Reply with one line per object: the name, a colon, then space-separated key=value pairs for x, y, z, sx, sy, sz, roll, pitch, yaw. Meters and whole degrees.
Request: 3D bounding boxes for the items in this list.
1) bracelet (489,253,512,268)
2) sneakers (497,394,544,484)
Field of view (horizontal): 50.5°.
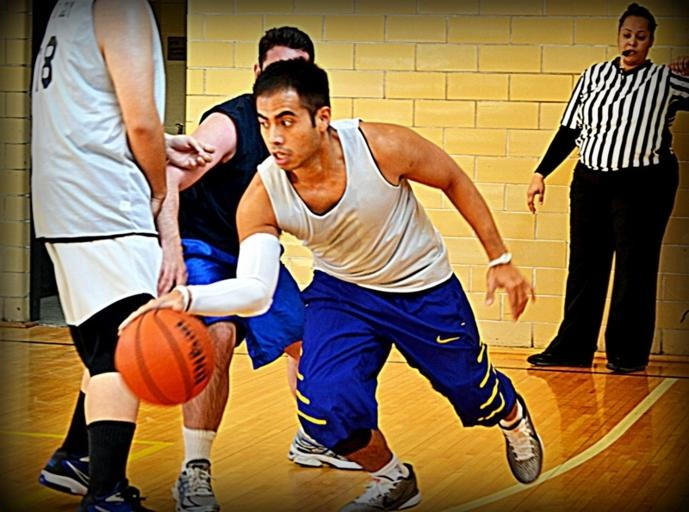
bracelet: x=0.642 y=0.020 z=2.994 sx=0.072 sy=0.029 sz=0.067 roll=-24 pitch=-3 yaw=15
sneakers: x=0.800 y=0.872 z=3.278 sx=0.162 sy=0.463 sz=0.179 roll=-15 pitch=-5 yaw=14
